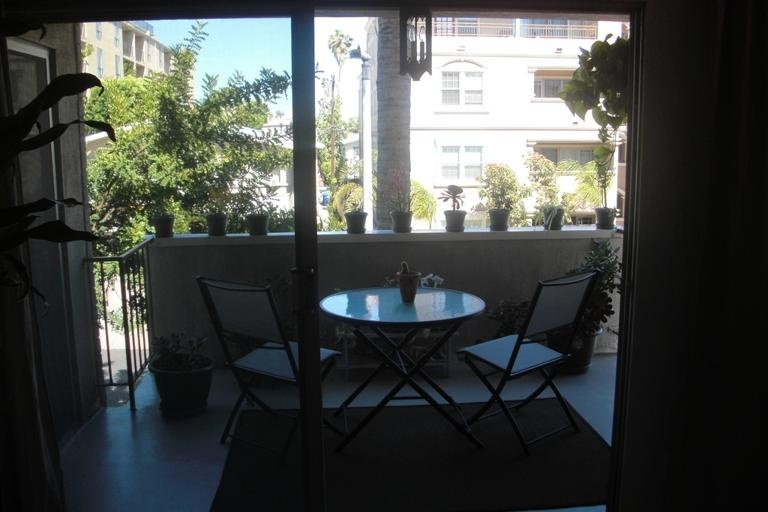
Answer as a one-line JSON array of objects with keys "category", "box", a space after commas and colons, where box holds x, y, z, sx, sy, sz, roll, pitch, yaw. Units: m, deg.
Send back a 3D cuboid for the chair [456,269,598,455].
[{"category": "chair", "box": [0.966, 0.650, 4.336, 0.606, 1.113, 0.823, -10, 13, -35]}]
